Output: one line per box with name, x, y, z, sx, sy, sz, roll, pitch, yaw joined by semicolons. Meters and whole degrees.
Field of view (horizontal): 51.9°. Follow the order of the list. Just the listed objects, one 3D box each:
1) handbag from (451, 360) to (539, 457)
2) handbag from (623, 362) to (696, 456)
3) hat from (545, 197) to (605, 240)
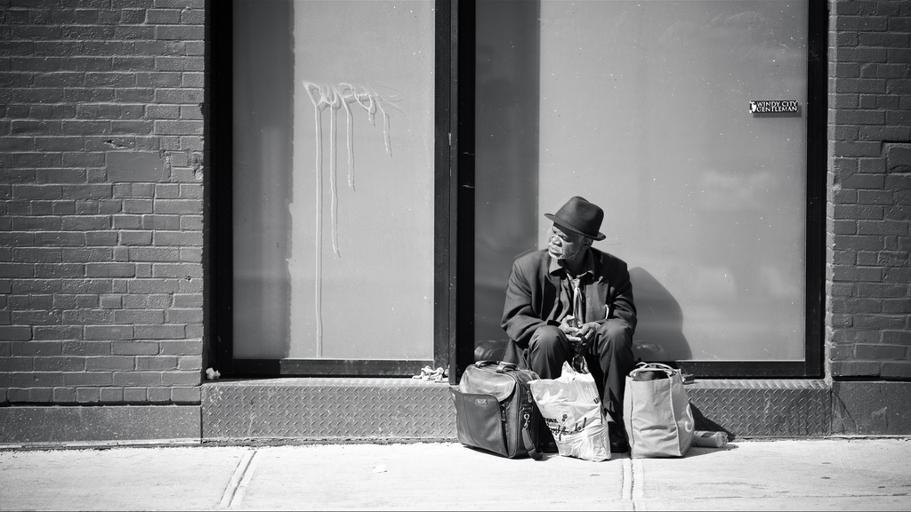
handbag;0.379;1.398;8.664;0.725;0.767;1.071;2;0;-37
handbag;1.911;1.407;8.666;0.634;0.742;0.899;-5;2;37
hat;1.132;-0.353;8.573;0.503;0.164;0.431;20;4;-41
